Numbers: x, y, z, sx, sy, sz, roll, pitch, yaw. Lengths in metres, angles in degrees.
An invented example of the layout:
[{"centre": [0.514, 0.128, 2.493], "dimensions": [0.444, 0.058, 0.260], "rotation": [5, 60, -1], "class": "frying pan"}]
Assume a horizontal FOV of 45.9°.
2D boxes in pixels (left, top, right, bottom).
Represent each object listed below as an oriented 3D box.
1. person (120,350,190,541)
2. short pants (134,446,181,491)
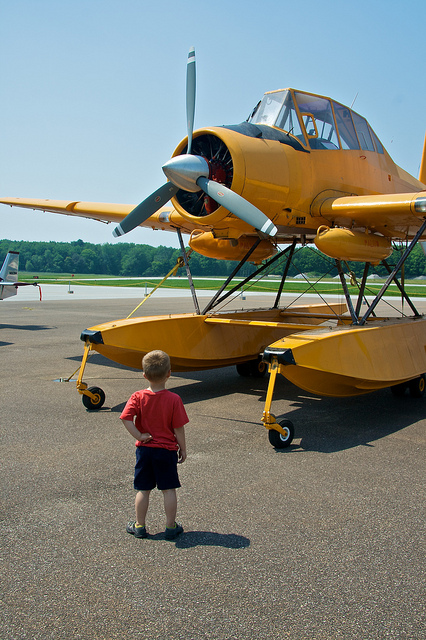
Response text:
[{"centre": [-0.323, 0.721, 2.872], "dimensions": [0.359, 1.069, 0.313], "rotation": [1, 3, -3], "class": "person"}, {"centre": [-0.311, 0.830, 2.857], "dimensions": [0.288, 0.249, 0.171], "rotation": [-5, -10, 25], "class": "short pants"}]
